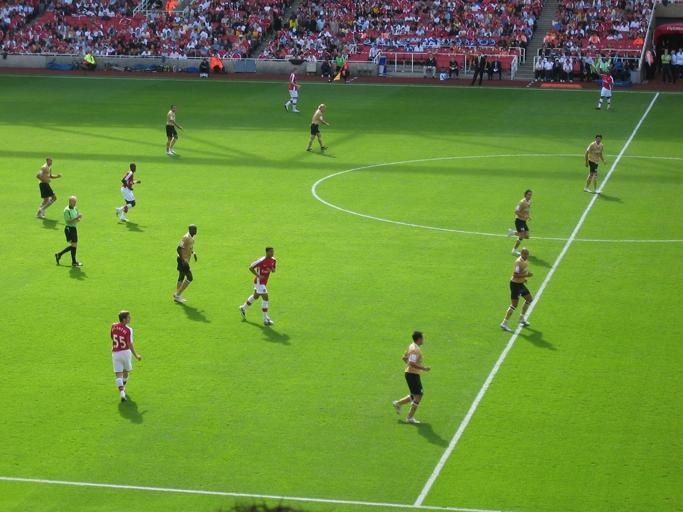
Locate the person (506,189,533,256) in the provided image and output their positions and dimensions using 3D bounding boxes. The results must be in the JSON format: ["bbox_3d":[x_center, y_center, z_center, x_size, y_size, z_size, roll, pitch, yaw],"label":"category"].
[{"bbox_3d":[7.383,-1.282,50.435,1.454,3.228,1.181,8,42,19],"label":"person"}]

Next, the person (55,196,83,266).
[{"bbox_3d":[-10.711,-1.103,47.874,1.060,2.983,1.214,-1,24,-25],"label":"person"}]

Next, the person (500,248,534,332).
[{"bbox_3d":[6.327,1.099,43.210,1.189,2.660,1.514,7,24,9],"label":"person"}]

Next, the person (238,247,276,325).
[{"bbox_3d":[-2.861,0.909,43.633,1.432,2.753,1.184,-2,21,-29],"label":"person"}]

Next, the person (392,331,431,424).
[{"bbox_3d":[2.219,3.818,38.713,1.295,2.762,1.148,-1,9,-7],"label":"person"}]

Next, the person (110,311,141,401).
[{"bbox_3d":[-7.118,3.157,39.599,1.013,2.720,1.381,4,18,-3],"label":"person"}]

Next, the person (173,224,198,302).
[{"bbox_3d":[-5.767,0.246,44.785,0.890,2.786,1.121,12,19,-2],"label":"person"}]
